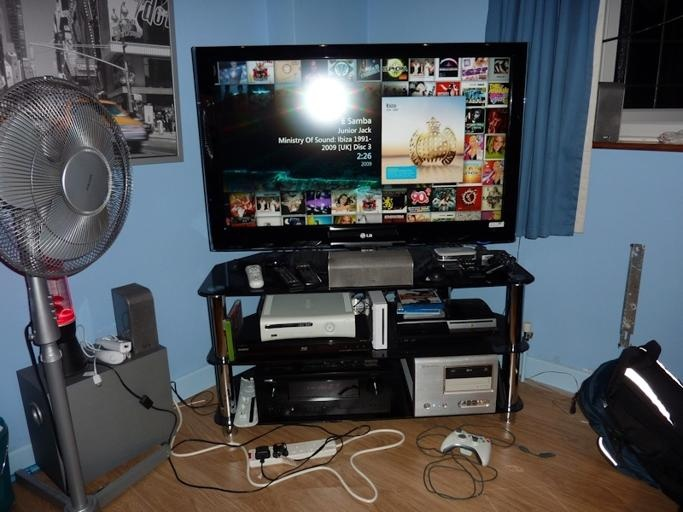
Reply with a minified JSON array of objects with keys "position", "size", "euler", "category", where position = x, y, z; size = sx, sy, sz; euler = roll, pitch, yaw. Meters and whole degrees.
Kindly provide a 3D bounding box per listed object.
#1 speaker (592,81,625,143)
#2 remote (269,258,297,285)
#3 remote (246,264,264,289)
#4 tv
[{"position":[1.444,-0.777,3.023],"size":[0.131,0.318,0.124],"euler":[4,17,24],"category":"speaker"},{"position":[-0.306,0.101,2.977],"size":[0.069,0.035,0.263],"euler":[-7,28,-16],"category":"remote"},{"position":[-0.446,0.109,2.912],"size":[0.057,0.049,0.178],"euler":[-4,19,-12],"category":"remote"},{"position":[0.105,-0.542,2.914],"size":[1.304,0.822,0.024],"euler":[-1,18,-1],"category":"tv"}]
